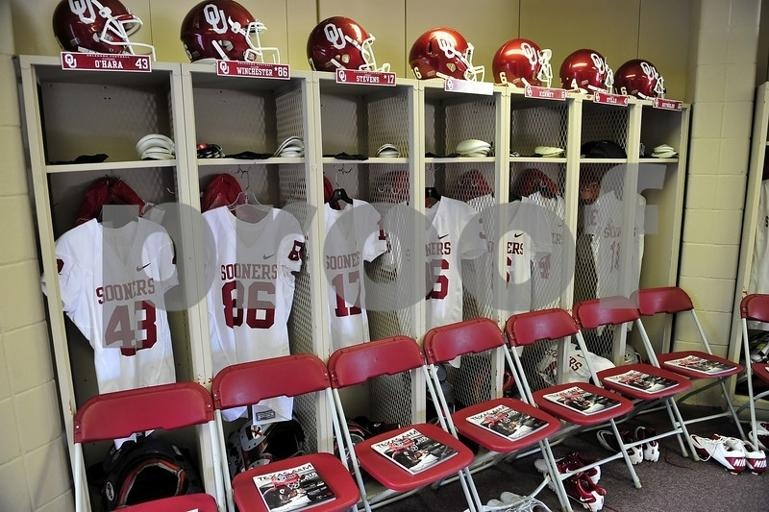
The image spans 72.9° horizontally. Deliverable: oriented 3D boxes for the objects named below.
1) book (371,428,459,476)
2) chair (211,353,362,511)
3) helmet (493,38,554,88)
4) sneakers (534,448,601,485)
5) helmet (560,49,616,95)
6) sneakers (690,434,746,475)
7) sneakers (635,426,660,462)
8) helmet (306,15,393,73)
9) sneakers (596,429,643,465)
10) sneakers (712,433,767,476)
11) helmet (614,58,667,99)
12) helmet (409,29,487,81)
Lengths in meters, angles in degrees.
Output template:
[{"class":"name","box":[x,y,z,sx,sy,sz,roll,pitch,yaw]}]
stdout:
[{"class":"book","box":[0.169,1.085,2.894,0.329,0.050,0.364,-13,16,-38]},{"class":"chair","box":[-0.562,1.001,2.943,0.711,0.911,0.685,-10,21,-24]},{"class":"helmet","box":[1.000,-1.366,3.687,0.411,0.327,0.323,-6,27,-4]},{"class":"sneakers","box":[1.178,1.393,3.500,0.477,0.210,0.173,8,23,10]},{"class":"helmet","box":[1.470,-1.385,3.941,0.406,0.322,0.290,-11,32,-9]},{"class":"sneakers","box":[2.307,1.349,3.584,0.169,0.109,0.258,2,18,-22]},{"class":"sneakers","box":[1.863,1.324,3.749,0.108,0.137,0.319,-1,29,3]},{"class":"helmet","box":[-0.204,-1.239,3.058,0.463,0.283,0.311,-5,22,-10]},{"class":"sneakers","box":[1.670,1.363,3.714,0.119,0.130,0.326,-13,26,-23]},{"class":"sneakers","box":[2.455,1.331,3.645,0.148,0.159,0.405,-5,19,-9]},{"class":"helmet","box":[1.951,-1.391,4.107,0.380,0.302,0.277,-7,27,1]},{"class":"helmet","box":[0.404,-1.291,3.370,0.457,0.291,0.332,-3,21,-7]}]
